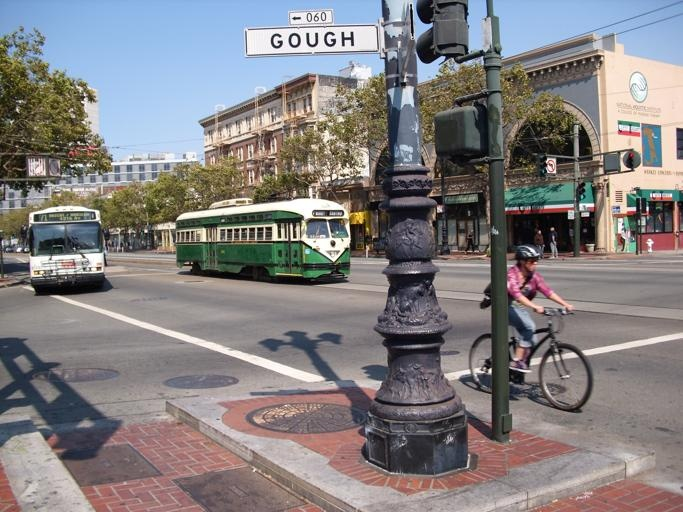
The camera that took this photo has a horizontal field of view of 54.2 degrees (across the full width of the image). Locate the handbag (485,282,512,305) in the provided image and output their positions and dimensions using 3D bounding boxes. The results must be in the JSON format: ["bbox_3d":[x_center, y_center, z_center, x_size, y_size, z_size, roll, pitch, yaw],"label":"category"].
[{"bbox_3d":[1.932,0.509,8.670,0.371,0.190,0.525,-3,3,-4],"label":"handbag"}]

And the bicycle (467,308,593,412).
[{"bbox_3d":[2.737,1.425,8.995,0.938,1.145,1.883,6,-6,-39],"label":"bicycle"}]

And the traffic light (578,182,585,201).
[{"bbox_3d":[13.367,-3.617,37.194,0.357,0.933,1.443,-1,6,16],"label":"traffic light"}]

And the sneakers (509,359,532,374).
[{"bbox_3d":[2.334,1.439,8.722,0.288,0.127,0.135,1,-2,43],"label":"sneakers"}]

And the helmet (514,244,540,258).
[{"bbox_3d":[2.438,-0.061,8.769,0.185,0.154,0.249,-6,23,-42],"label":"helmet"}]

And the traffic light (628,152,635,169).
[{"bbox_3d":[13.958,-4.619,32.104,0.359,0.836,0.538,1,6,34],"label":"traffic light"}]

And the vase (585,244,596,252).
[{"bbox_3d":[15.418,-0.528,41.313,0.437,0.328,0.440,2,-2,-7],"label":"vase"}]
